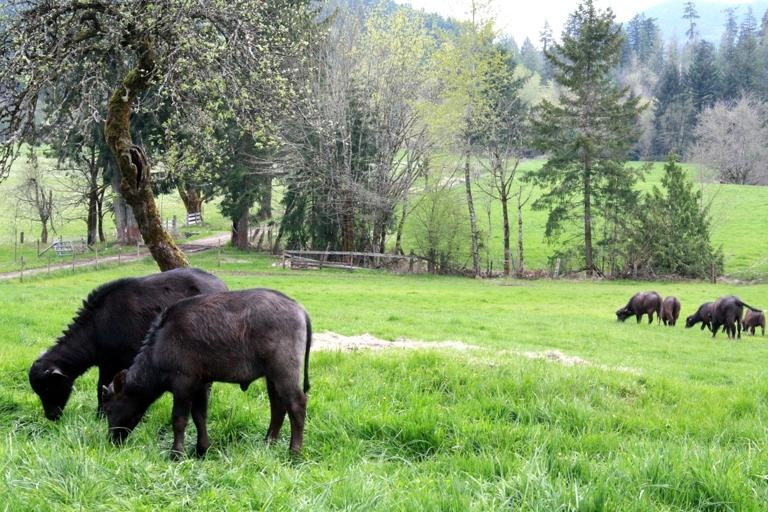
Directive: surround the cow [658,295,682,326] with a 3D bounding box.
[{"bbox_3d":[15.973,3.102,46.353,0.969,1.310,0.856,2,1,4],"label":"cow"}]
